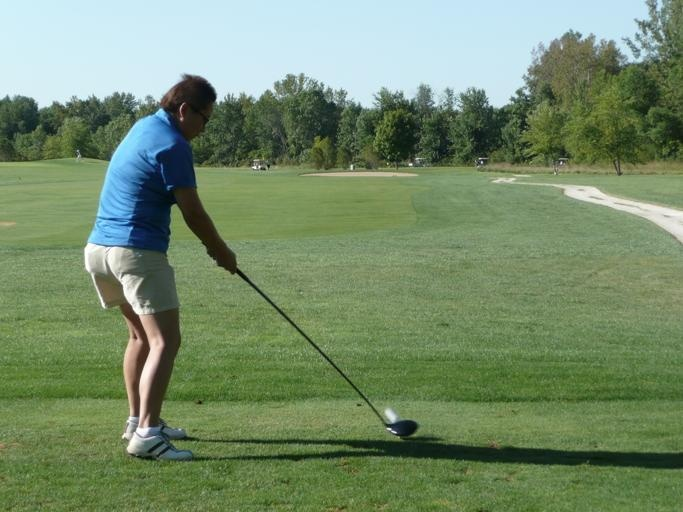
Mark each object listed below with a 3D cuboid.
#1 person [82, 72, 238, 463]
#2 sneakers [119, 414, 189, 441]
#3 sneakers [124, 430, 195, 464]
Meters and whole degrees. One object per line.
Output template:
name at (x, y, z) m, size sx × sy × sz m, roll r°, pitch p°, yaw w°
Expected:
person at (-1.594, 0.044, 8.060) m, size 1.152 × 3.087 × 1.158 m, roll -2°, pitch 13°, yaw -12°
sneakers at (-1.583, 1.492, 8.134) m, size 0.608 × 0.243 × 0.210 m, roll 6°, pitch 4°, yaw -12°
sneakers at (-1.505, 1.579, 7.842) m, size 0.604 × 0.236 × 0.210 m, roll 3°, pitch -1°, yaw -7°
